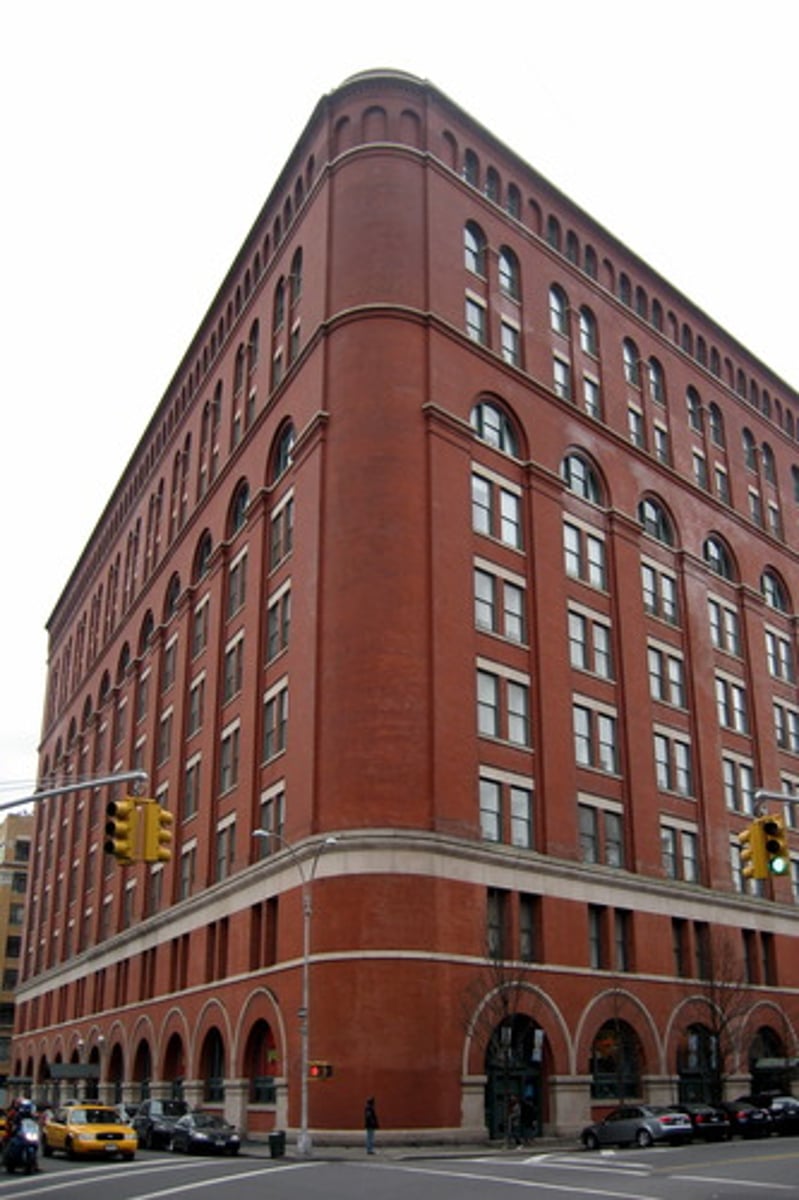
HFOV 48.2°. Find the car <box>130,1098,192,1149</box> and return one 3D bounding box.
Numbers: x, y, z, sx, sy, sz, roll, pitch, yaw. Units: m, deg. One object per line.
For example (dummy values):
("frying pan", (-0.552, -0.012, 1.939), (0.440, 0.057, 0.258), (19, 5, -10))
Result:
("car", (-7.745, 17.114, 29.291), (1.242, 1.383, 2.992), (12, -40, -21))

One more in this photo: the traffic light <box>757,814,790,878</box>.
("traffic light", (3.868, 2.523, 9.283), (0.226, 0.769, 0.939), (-11, -30, 20))

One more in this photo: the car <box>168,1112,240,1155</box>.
("car", (-5.721, 15.678, 26.109), (1.150, 1.045, 2.840), (12, -36, -21))
